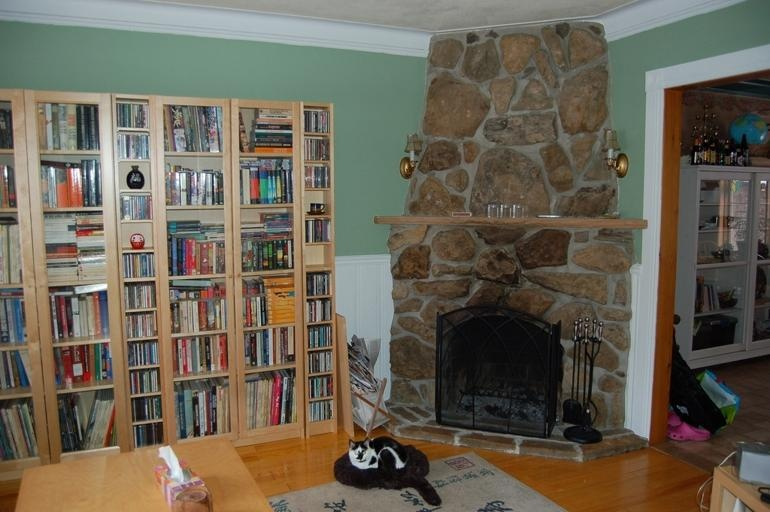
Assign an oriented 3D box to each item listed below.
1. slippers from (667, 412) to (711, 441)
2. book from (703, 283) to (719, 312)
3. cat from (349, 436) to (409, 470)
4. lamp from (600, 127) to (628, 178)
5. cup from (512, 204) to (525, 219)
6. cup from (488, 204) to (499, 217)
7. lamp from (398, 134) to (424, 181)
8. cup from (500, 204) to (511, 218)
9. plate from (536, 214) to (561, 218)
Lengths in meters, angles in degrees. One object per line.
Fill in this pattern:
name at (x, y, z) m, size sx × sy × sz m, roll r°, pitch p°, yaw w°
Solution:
slippers at (2.664, 1.502, 4.962) m, size 0.336 × 0.113 × 0.192 m, roll 0°, pitch 4°, yaw 35°
book at (3.715, 0.472, 6.444) m, size 0.195 × 0.309 × 0.336 m, roll -2°, pitch -3°, yaw 17°
cat at (-0.051, 1.547, 4.435) m, size 0.348 × 0.161 × 0.247 m, roll 1°, pitch 3°, yaw -30°
lamp at (1.995, -0.897, 4.879) m, size 0.211 × 0.438 × 0.195 m, roll -3°, pitch 6°, yaw 13°
cup at (1.189, -0.403, 5.050) m, size 0.139 × 0.126 × 0.100 m, roll 1°, pitch 5°, yaw -6°
cup at (0.970, -0.412, 5.084) m, size 0.119 × 0.109 × 0.063 m, roll 5°, pitch 8°, yaw 35°
lamp at (0.246, -0.963, 5.388) m, size 0.233 × 0.438 × 0.228 m, roll -4°, pitch 6°, yaw 3°
cup at (1.091, -0.423, 5.072) m, size 0.098 × 0.105 × 0.096 m, roll 0°, pitch 4°, yaw 0°
plate at (1.448, -0.361, 4.990) m, size 0.201 × 0.033 × 0.186 m, roll -2°, pitch 5°, yaw 17°
